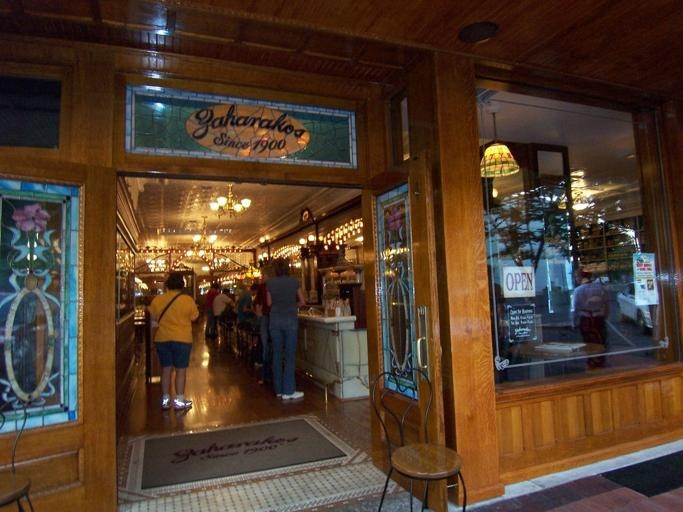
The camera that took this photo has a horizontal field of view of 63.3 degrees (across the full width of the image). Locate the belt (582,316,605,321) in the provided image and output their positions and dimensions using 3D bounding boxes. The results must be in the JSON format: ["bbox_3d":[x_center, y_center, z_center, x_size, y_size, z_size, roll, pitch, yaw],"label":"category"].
[{"bbox_3d":[2.383,0.584,5.209,0.215,0.051,0.036,-5,7,-9],"label":"belt"}]

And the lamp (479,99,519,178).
[{"bbox_3d":[1.384,-0.979,4.868,0.115,0.603,0.529,-4,0,43],"label":"lamp"}]

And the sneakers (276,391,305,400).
[{"bbox_3d":[-0.642,1.730,6.870,0.332,0.143,0.120,-2,1,-18],"label":"sneakers"}]

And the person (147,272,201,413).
[{"bbox_3d":[-2.007,0.996,6.669,0.539,1.598,0.955,-4,0,-17],"label":"person"}]
